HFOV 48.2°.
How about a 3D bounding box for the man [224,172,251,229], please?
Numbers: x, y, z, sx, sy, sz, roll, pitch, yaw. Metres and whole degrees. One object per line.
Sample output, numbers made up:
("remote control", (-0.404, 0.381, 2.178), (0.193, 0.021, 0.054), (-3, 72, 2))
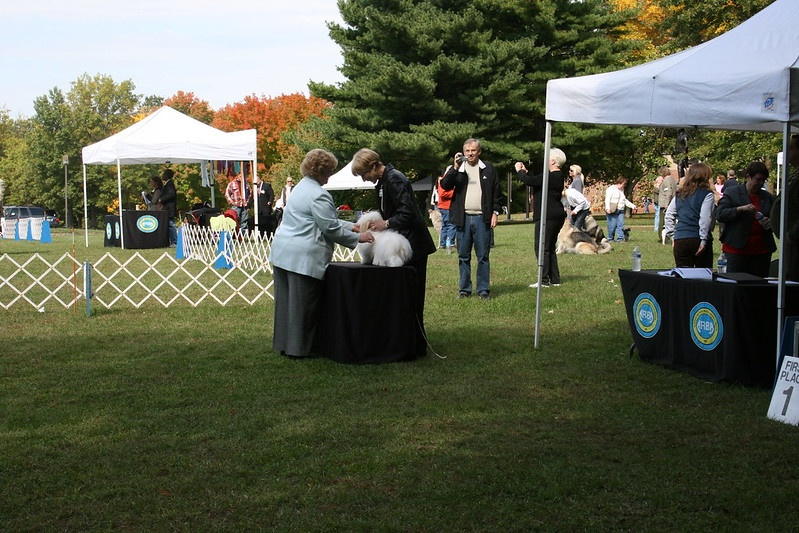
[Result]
("man", (-4.451, -1.770, 24.631), (0.585, 1.434, 2.158), (-2, 7, -11))

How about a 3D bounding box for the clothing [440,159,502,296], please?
("clothing", (1.125, -0.659, 14.125), (0.929, 2.301, 0.668), (0, -2, -10))

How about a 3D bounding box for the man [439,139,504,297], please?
("man", (1.142, -0.710, 14.019), (0.892, 2.540, 1.433), (1, 6, 12))

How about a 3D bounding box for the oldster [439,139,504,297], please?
("oldster", (1.137, -0.735, 14.093), (1.018, 2.412, 0.743), (-2, 3, -17))

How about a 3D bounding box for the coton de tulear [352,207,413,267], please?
("coton de tulear", (-0.265, -0.324, 11.116), (0.469, 0.544, 0.752), (-13, 19, -43))

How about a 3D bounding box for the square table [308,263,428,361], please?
("square table", (-0.405, 0.572, 11.293), (1.317, 1.162, 1.143), (0, 1, -32))

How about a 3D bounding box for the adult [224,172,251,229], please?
("adult", (-4.443, -1.765, 24.585), (0.585, 1.434, 1.951), (-2, 7, -11))

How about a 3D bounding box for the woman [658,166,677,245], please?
("woman", (6.184, -1.384, 20.907), (0.362, 1.532, 0.549), (6, 2, 12))

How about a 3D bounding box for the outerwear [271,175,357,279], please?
("outerwear", (-1.037, -0.482, 11.496), (1.140, 1.217, 0.948), (4, 5, -26))

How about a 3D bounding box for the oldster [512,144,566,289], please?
("oldster", (2.355, -0.794, 15.029), (0.871, 2.319, 0.869), (-4, 7, -39))

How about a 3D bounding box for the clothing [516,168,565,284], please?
("clothing", (2.352, -0.771, 15.042), (0.926, 2.261, 0.778), (-1, 2, -23))

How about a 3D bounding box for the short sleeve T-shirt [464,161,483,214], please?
("short sleeve T-shirt", (1.149, -1.214, 14.013), (0.268, 0.813, 0.320), (0, 6, 4))

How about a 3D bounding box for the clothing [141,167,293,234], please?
("clothing", (-4.975, -1.707, 24.500), (2.792, 1.918, 2.885), (0, -2, 4))
